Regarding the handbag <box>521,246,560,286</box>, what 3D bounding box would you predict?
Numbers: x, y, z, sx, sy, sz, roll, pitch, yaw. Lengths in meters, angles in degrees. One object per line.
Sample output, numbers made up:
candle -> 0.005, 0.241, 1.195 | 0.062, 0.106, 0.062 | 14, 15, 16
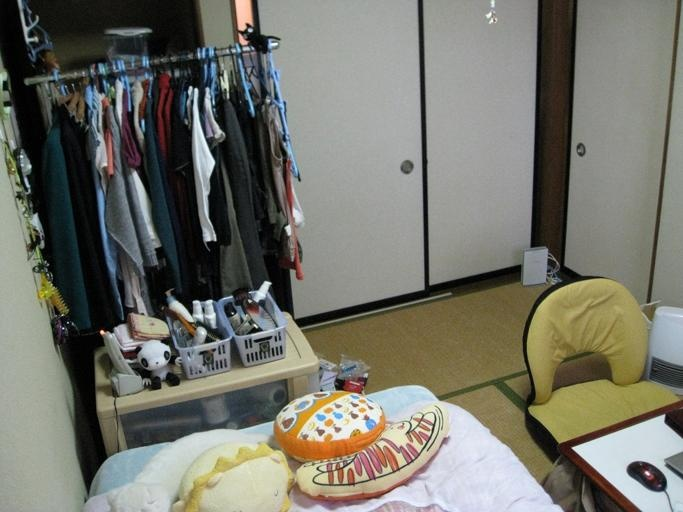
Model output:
handbag -> 1.499, 0.093, 4.167 | 0.274, 0.318, 0.063 | -12, 13, -22

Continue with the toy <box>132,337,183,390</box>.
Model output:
toy -> -0.767, 0.442, 2.234 | 0.155, 0.233, 0.158 | -20, 31, -29

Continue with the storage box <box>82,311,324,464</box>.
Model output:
storage box -> -0.563, 0.605, 2.211 | 0.626, 0.532, 0.472 | -11, 26, -19

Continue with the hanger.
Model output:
hanger -> -0.724, -0.692, 2.611 | 0.932, 0.721, 0.423 | -10, 18, -7

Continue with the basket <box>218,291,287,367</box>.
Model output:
basket -> -0.389, 0.257, 2.350 | 0.212, 0.163, 0.333 | -11, 33, -19

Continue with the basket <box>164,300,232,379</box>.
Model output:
basket -> -0.563, 0.367, 2.338 | 0.175, 0.151, 0.309 | -4, 24, -6
